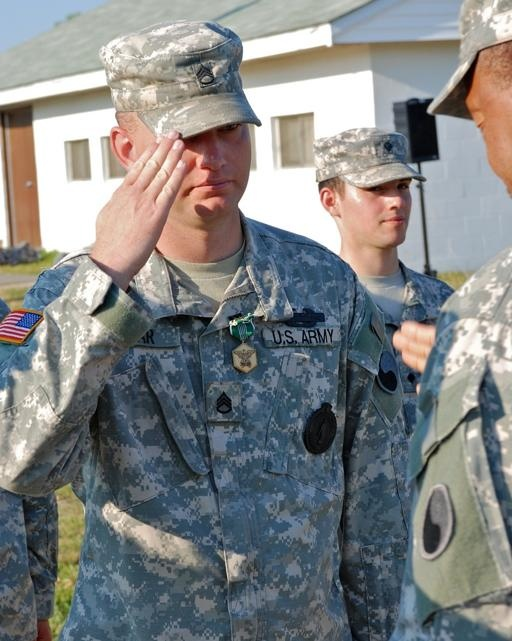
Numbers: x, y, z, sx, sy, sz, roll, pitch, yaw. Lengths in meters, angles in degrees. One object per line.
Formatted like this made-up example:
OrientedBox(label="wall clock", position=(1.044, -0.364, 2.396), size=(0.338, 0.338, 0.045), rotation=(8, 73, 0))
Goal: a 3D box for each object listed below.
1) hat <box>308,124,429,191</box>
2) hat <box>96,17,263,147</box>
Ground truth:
OrientedBox(label="hat", position=(0.627, -0.915, 4.826), size=(0.458, 0.272, 0.573), rotation=(-17, 26, -36))
OrientedBox(label="hat", position=(-0.196, -0.641, 2.298), size=(0.331, 0.198, 0.407), rotation=(-15, 27, -29))
